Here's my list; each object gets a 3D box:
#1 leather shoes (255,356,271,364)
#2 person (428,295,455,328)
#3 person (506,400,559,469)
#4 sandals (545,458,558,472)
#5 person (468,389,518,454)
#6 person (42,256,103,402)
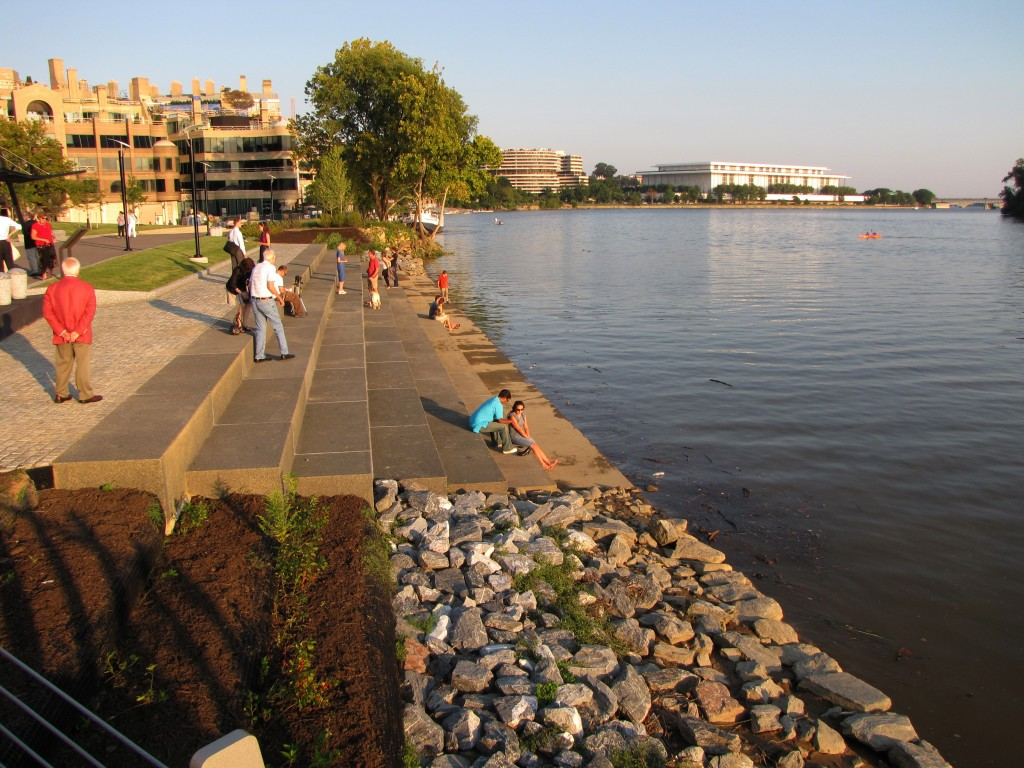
[{"bbox_3d":[-4.752,-0.533,13.926,0.162,0.121,0.413,3,16,10],"label":"leather shoes"},{"bbox_3d":[-2.820,-2.933,28.948,1.060,1.201,2.339,-1,16,-5],"label":"person"},{"bbox_3d":[0.460,0.994,14.660,0.443,0.886,1.535,-10,33,-33],"label":"person"},{"bbox_3d":[0.809,1.607,14.806,0.240,0.339,0.115,8,-13,-15],"label":"sandals"},{"bbox_3d":[-0.372,0.672,14.689,0.935,1.361,0.621,-4,16,-14],"label":"person"},{"bbox_3d":[-6.242,-0.770,10.291,0.655,2.046,0.436,-10,19,-31],"label":"person"}]
